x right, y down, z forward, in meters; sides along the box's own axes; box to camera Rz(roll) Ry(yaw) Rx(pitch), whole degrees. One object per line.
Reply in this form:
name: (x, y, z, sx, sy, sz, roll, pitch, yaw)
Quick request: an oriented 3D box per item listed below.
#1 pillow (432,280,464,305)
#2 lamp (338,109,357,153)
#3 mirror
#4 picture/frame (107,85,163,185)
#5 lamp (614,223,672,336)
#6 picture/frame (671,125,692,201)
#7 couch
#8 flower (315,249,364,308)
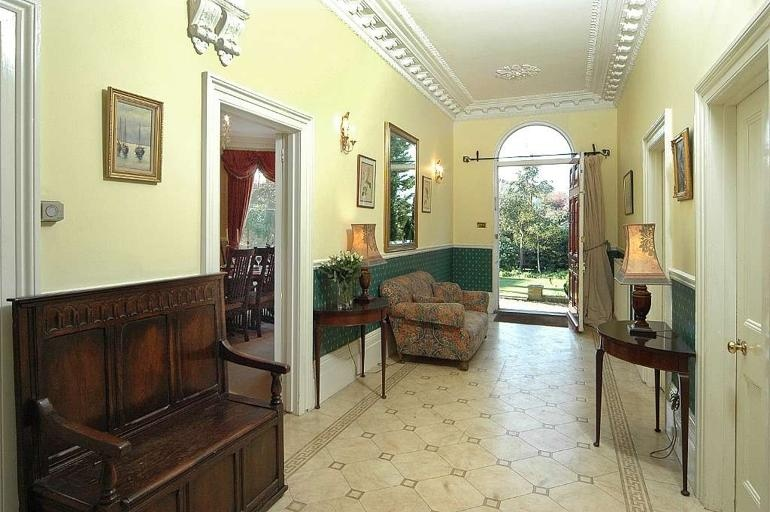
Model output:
pillow: (0.892, 0.536, 7.543, 0.313, 0.404, 0.307, -2, -5, 23)
lamp: (-0.426, -1.433, 5.889, 0.131, 0.487, 0.290, 3, 10, 15)
mirror: (0.204, -0.999, 7.248, 0.099, 2.264, 1.909, 1, 1, 18)
picture/frame: (-1.828, -0.881, 3.706, 0.424, 0.642, 0.138, -7, 12, -35)
lamp: (2.406, 0.160, 4.797, 0.420, 0.972, 0.948, 5, 11, 28)
picture/frame: (2.657, -0.829, 4.604, 0.161, 0.643, 0.590, 4, 11, 24)
couch: (0.766, 0.793, 7.175, 1.236, 1.127, 1.836, 3, 11, 18)
flower: (-0.560, 0.222, 5.766, 0.615, 0.723, 0.540, -1, 4, -23)
